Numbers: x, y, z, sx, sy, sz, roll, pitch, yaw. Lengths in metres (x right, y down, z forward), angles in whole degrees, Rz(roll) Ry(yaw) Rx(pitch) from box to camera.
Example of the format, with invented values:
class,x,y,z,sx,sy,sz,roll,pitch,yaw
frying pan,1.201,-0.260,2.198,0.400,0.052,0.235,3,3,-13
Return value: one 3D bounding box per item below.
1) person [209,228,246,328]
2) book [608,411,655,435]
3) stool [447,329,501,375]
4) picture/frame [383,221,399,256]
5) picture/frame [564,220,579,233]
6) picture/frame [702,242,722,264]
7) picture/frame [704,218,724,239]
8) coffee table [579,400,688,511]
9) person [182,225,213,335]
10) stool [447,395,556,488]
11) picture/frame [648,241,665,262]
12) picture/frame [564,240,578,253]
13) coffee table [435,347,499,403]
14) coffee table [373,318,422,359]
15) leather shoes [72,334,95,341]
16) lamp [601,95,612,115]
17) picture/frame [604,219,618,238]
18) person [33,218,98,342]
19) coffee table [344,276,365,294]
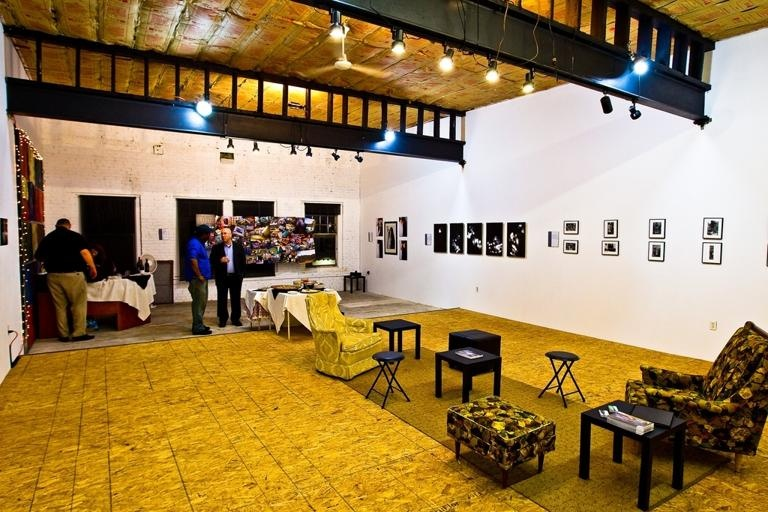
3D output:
class,x,y,z,sx,sy,sz,roll,pitch,yaw
person,-3.174,0.438,10.462,0.640,1.986,1.365,-2,3,-15
book,2.623,1.805,5.459,0.448,0.136,0.205,1,3,37
stool,1.429,1.485,8.081,0.649,0.482,0.632,-1,5,-34
picture/frame,0.226,-0.481,14.119,0.060,1.286,0.970,-3,4,-33
picture/frame,3.677,-0.560,9.945,0.027,0.254,0.264,7,-2,-30
picture/frame,5.352,-0.036,8.268,0.048,0.467,0.357,4,-1,-34
picture/frame,5.369,-0.442,8.258,0.033,0.455,0.353,4,-1,-33
coffee table,2.726,2.185,5.763,1.072,1.052,1.042,-2,0,-32
person,-3.522,0.463,9.720,0.460,2.085,0.749,-2,3,-21
stool,1.372,1.948,5.712,0.906,0.555,0.889,-2,5,-35
picture/frame,4.731,-0.068,8.808,0.050,0.482,0.363,6,-3,-33
picture/frame,3.669,-0.183,9.951,0.024,0.222,0.234,2,6,-34
coffee table,1.156,1.568,7.046,0.743,0.646,0.722,-1,4,-30
coffee table,0.236,1.337,8.531,0.707,0.651,0.701,2,-1,-29
leather shoes,-5.440,1.495,9.230,0.325,0.123,0.114,-2,7,-30
lamp,3.598,-2.475,8.214,0.121,0.318,0.499,1,3,26
picture/frame,4.184,-0.483,9.370,0.023,0.320,0.245,-3,4,-40
person,-5.616,0.454,9.050,0.854,2.174,0.342,-3,4,-31
coffee table,-0.894,0.893,15.329,0.557,0.501,0.532,0,-3,-4
